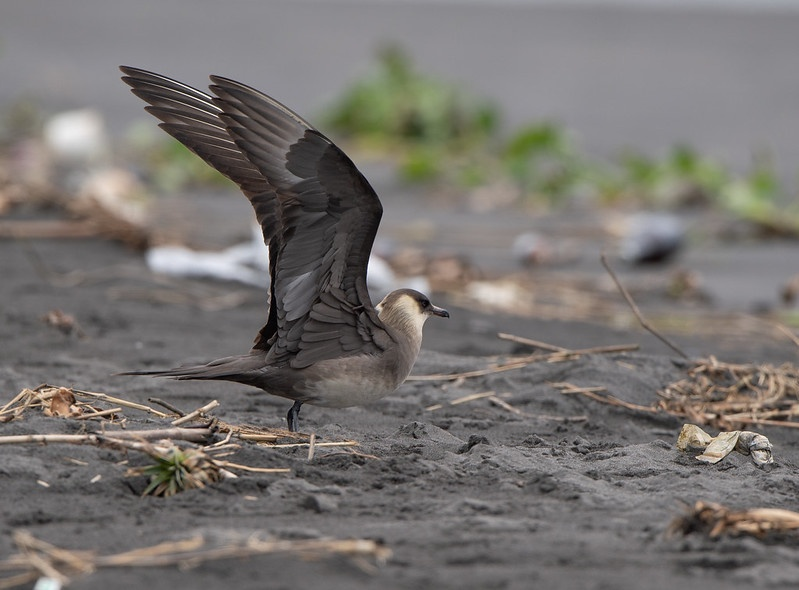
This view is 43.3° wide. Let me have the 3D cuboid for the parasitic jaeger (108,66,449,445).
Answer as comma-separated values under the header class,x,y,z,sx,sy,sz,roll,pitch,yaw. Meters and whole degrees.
class,x,y,z,sx,sy,sz,roll,pitch,yaw
parasitic jaeger,-0.601,-0.174,5.129,1.542,1.832,0.802,9,20,2
